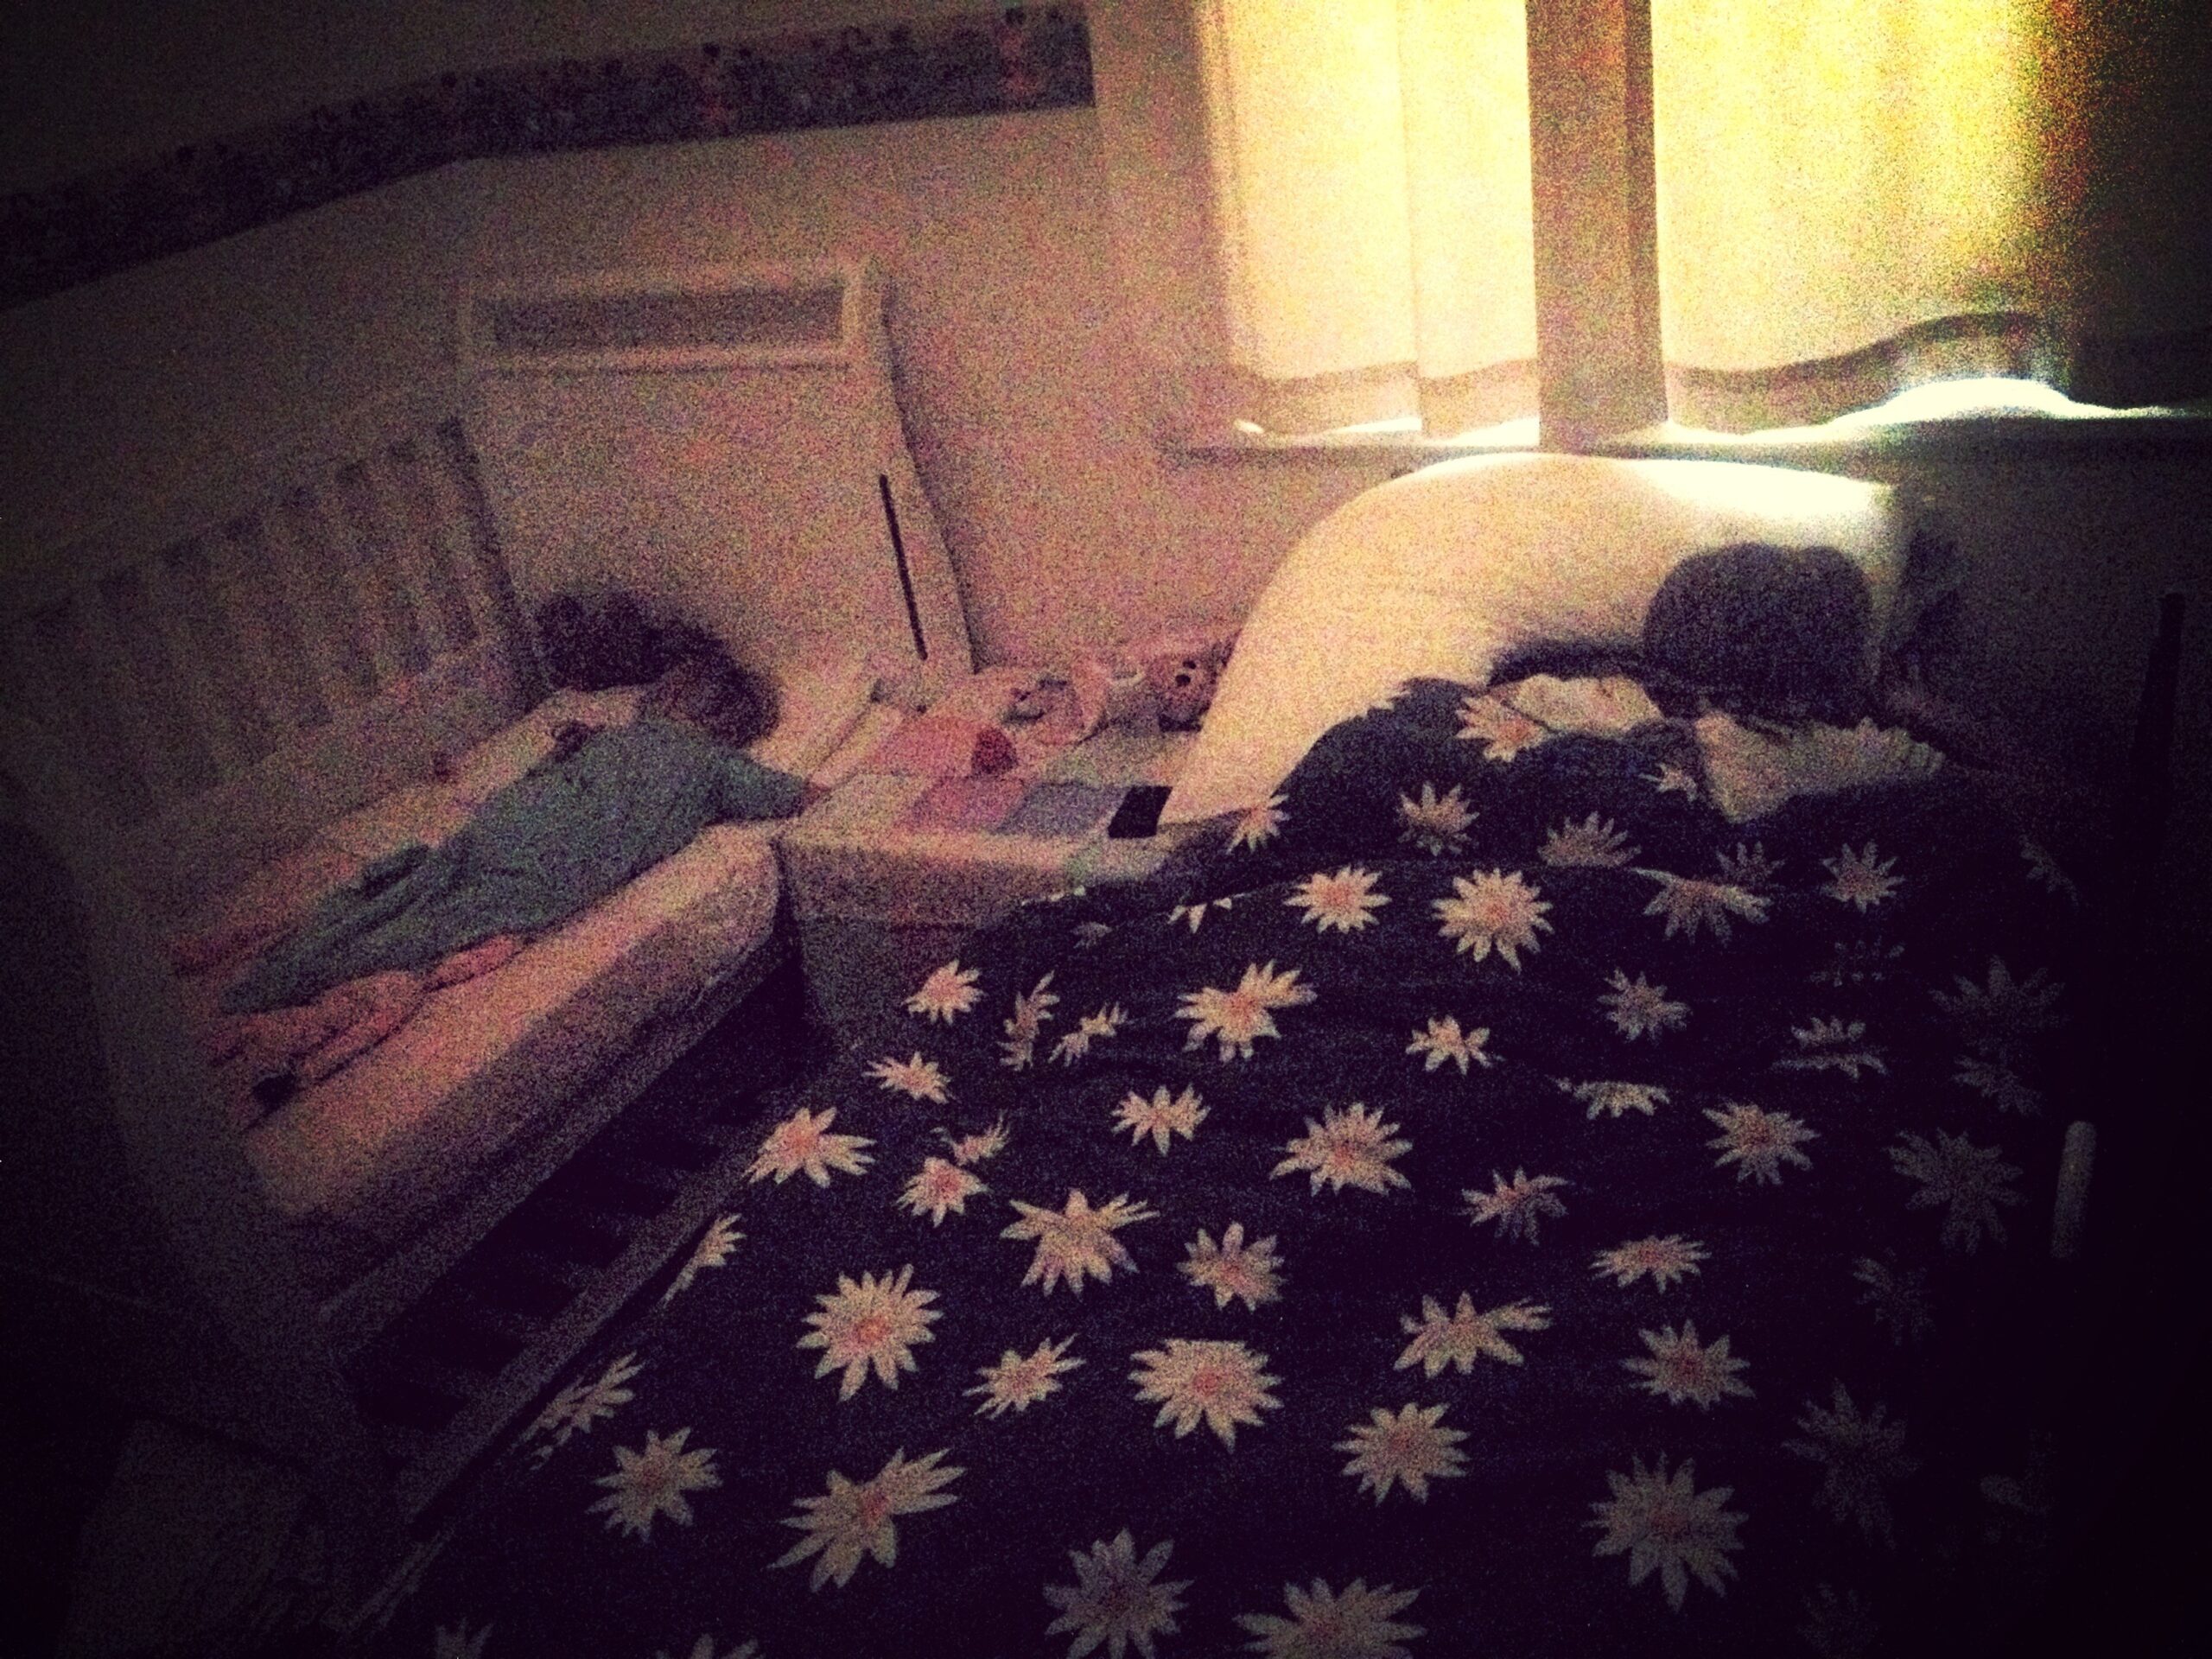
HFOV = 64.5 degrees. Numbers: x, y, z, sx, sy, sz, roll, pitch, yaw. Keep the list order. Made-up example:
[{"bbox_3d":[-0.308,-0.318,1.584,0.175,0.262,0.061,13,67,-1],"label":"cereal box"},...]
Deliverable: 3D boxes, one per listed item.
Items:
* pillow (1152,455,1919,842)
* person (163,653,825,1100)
[{"bbox_3d":[0.497,-0.249,2.171,0.633,0.183,0.549,1,39,22],"label":"pillow"},{"bbox_3d":[-0.820,0.106,2.446,0.392,0.213,0.721,36,54,23],"label":"person"}]
